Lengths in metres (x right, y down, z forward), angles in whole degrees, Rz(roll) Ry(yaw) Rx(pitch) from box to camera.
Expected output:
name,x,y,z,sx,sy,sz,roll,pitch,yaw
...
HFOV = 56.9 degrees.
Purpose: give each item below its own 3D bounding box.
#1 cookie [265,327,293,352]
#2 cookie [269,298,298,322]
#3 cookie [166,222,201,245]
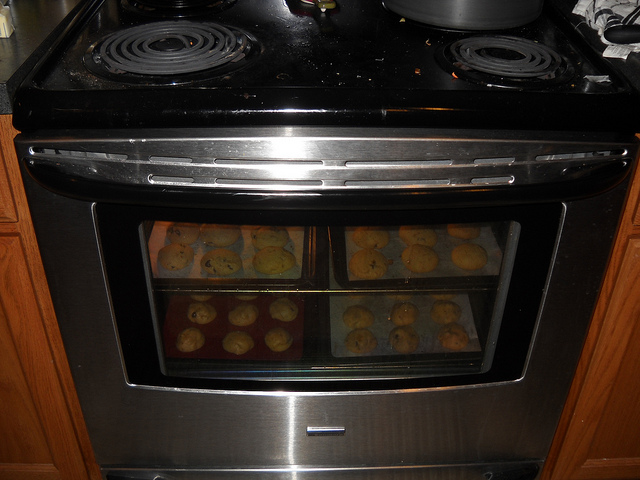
name,x,y,z,sx,sy,sz,roll,pitch,yaw
cookie,-0.086,0.197,1.158,0.055,0.042,0.012,11,-13,2
cookie,-0.073,0.138,1.185,0.052,0.043,0.014,43,9,-2
cookie,-0.246,-0.010,1.062,0.060,0.045,0.039,-4,14,-14
